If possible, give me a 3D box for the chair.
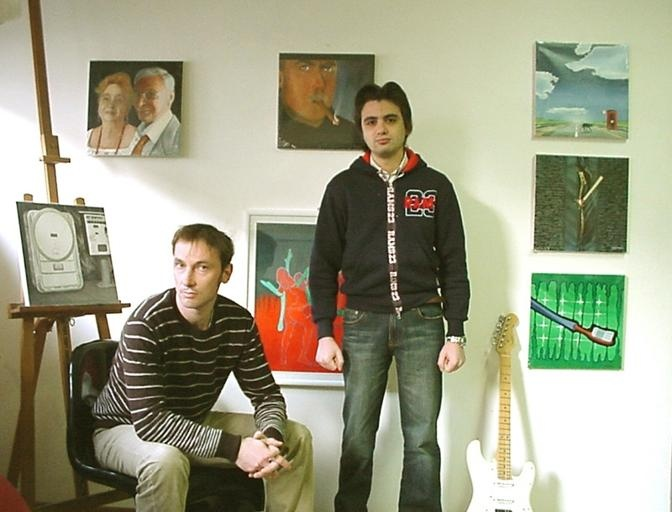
[{"bbox_3d":[-0.679,0.750,2.958,0.723,0.972,0.721,-8,-11,31],"label":"chair"}]

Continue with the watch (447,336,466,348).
[{"bbox_3d":[0.536,0.391,2.832,0.063,0.046,0.070,-3,-9,20],"label":"watch"}]
